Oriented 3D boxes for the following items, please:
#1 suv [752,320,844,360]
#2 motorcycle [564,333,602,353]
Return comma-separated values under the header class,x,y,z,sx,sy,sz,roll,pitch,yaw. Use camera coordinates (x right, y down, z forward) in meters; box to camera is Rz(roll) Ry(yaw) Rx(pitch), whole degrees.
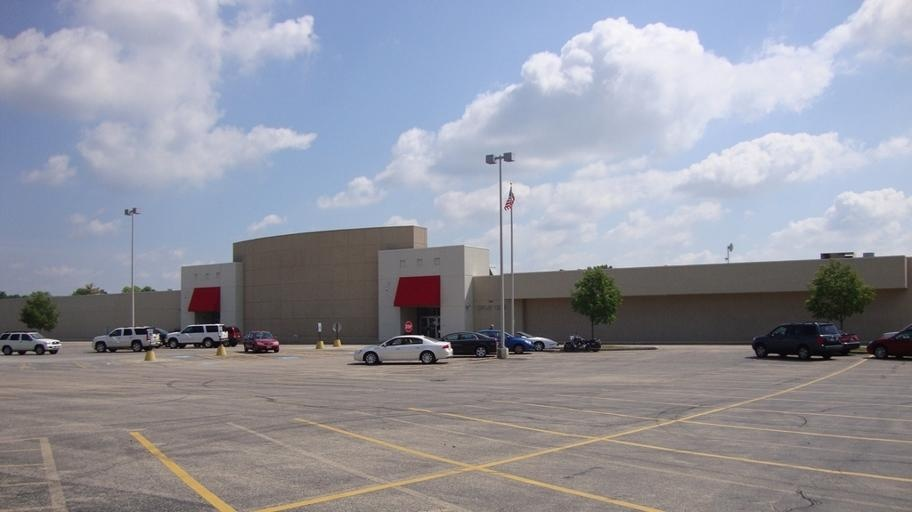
class,x,y,z,sx,sy,sz,roll,pitch,yaw
suv,20.472,5.008,38.186,2.408,1.853,4.320,5,-5,-42
motorcycle,9.651,6.642,48.385,2.680,1.296,1.478,3,-9,0
